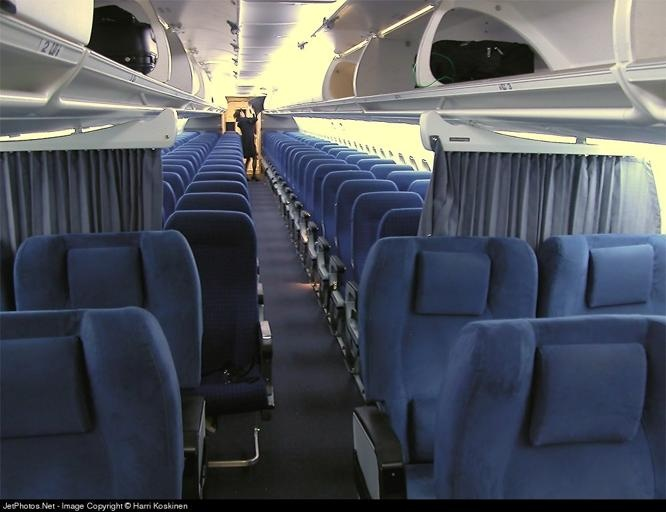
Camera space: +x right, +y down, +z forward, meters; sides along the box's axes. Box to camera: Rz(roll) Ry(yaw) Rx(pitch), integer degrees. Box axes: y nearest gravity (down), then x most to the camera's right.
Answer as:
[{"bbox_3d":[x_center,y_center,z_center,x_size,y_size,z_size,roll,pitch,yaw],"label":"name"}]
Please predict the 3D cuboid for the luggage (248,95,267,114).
[{"bbox_3d":[-2.559,-5.215,18.221,0.747,0.751,0.818,-2,-68,-4],"label":"luggage"}]
